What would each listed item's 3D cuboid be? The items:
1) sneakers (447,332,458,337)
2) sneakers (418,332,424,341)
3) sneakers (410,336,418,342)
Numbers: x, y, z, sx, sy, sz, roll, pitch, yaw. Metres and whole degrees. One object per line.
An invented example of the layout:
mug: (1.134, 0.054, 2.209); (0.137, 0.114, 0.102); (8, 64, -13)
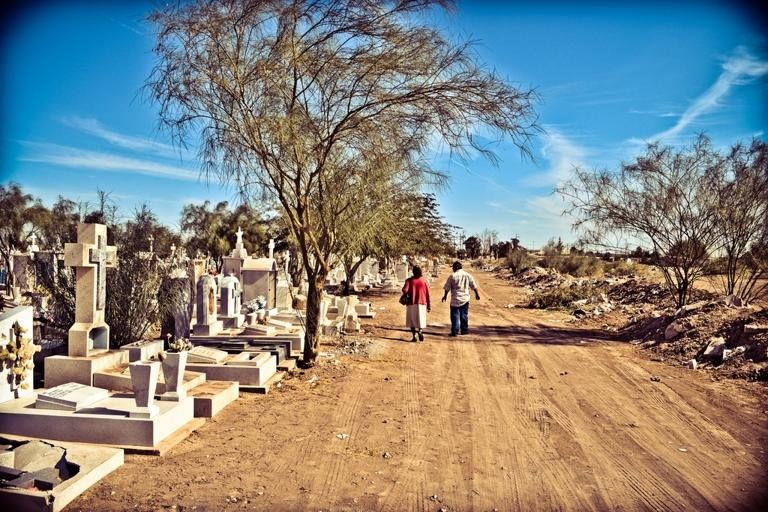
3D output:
sneakers: (2.042, 2.243, 14.649); (0.289, 0.125, 0.184); (2, 12, 4)
sneakers: (1.046, 2.230, 14.024); (0.153, 0.241, 0.260); (2, 12, 5)
sneakers: (0.845, 2.301, 14.082); (0.142, 0.177, 0.157); (4, 5, 41)
